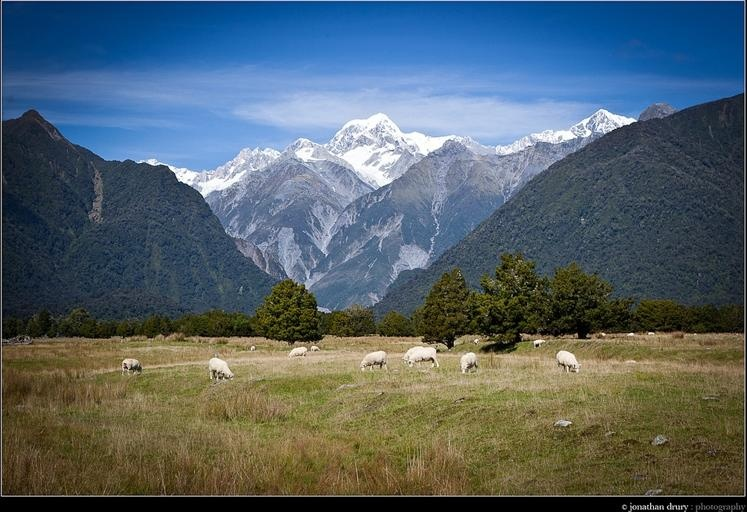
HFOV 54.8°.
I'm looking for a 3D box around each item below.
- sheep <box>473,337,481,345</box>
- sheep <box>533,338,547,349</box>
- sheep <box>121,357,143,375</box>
[{"bbox_3d":[17.241,14.012,119.865,0.830,1.665,2.976,0,-7,-9],"label":"sheep"},{"bbox_3d":[23.923,12.162,101.839,2.746,1.460,0.799,-3,4,9],"label":"sheep"},{"bbox_3d":[-25.576,11.499,76.221,3.109,1.903,1.366,0,2,-43],"label":"sheep"}]
